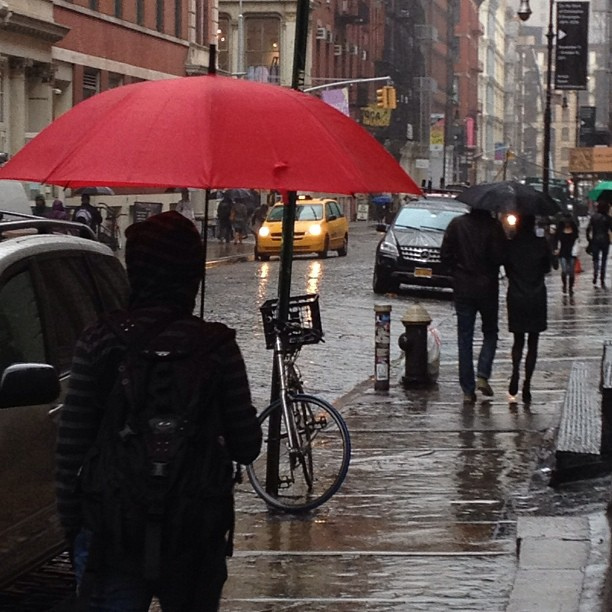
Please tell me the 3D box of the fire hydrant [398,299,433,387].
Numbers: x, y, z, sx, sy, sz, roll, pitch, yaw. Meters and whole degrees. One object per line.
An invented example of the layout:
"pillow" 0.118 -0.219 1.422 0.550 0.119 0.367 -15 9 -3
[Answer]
"fire hydrant" 1.249 0.469 10.785 0.372 0.909 0.405 1 6 7

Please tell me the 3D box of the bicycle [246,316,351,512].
"bicycle" -0.029 0.740 6.425 0.975 1.281 0.597 0 -5 8

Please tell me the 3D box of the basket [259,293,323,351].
"basket" -0.066 0.092 6.164 0.492 0.252 0.305 -4 6 6

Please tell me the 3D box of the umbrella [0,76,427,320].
"umbrella" -0.330 -0.361 3.971 1.417 0.710 1.252 0 2 -6

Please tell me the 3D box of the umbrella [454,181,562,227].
"umbrella" 2.145 -1.105 10.022 0.707 0.341 0.633 7 0 6

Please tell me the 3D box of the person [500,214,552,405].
"person" 2.287 0.028 9.865 0.488 1.928 0.608 2 6 13

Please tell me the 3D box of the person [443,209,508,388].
"person" 1.715 -0.065 9.672 0.651 1.819 0.473 1 6 4

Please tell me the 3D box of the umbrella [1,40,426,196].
"umbrella" -0.303 -0.685 3.777 1.538 0.489 0.880 -2 6 -29

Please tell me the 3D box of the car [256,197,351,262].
"car" -0.222 -2.648 32.565 2.802 1.674 4.395 1 7 11

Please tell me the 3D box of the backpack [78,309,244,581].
"backpack" -0.418 0.386 2.650 0.436 0.703 0.328 0 6 -5
